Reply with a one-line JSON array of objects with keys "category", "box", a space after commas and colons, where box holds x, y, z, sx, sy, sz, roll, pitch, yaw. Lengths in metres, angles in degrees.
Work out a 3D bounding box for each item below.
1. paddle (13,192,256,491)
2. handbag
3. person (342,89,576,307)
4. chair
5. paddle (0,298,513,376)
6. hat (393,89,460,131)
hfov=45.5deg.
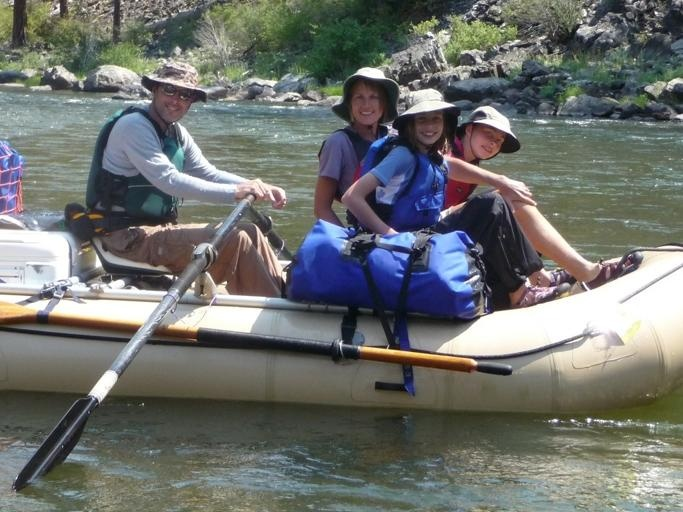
[{"category": "paddle", "box": [-1.090, 0.494, 4.297, 2.367, 0.253, 0.185, -45, 3, -41]}, {"category": "handbag", "box": [0.237, 0.068, 4.120, 0.929, 0.298, 0.458, 3, 3, 7]}, {"category": "person", "box": [0.847, -0.324, 4.587, 1.570, 0.920, 0.745, 16, 14, 34]}, {"category": "chair", "box": [-1.263, 0.005, 4.795, 0.363, 0.109, 0.230, 9, 6, -13]}, {"category": "paddle", "box": [-0.379, 0.427, 4.218, 1.832, 0.125, 0.288, 4, 32, 6]}, {"category": "hat", "box": [0.463, -0.852, 4.579, 0.316, 0.145, 0.285, -8, -22, 0]}]
